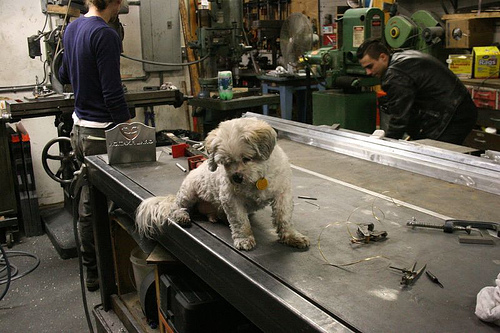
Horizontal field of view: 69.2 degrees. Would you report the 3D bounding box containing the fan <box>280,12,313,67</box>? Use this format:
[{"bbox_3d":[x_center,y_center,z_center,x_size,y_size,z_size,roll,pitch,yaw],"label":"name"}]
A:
[{"bbox_3d":[0.608,-1.694,4.827,0.153,0.677,0.652,-13,17,-35],"label":"fan"}]

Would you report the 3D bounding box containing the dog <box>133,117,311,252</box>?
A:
[{"bbox_3d":[-0.126,0.065,1.493,0.690,0.468,0.506,1,8,38],"label":"dog"}]

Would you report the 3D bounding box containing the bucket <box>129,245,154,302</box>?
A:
[{"bbox_3d":[-0.667,0.683,2.255,0.118,0.357,0.331,-8,15,-20],"label":"bucket"}]
